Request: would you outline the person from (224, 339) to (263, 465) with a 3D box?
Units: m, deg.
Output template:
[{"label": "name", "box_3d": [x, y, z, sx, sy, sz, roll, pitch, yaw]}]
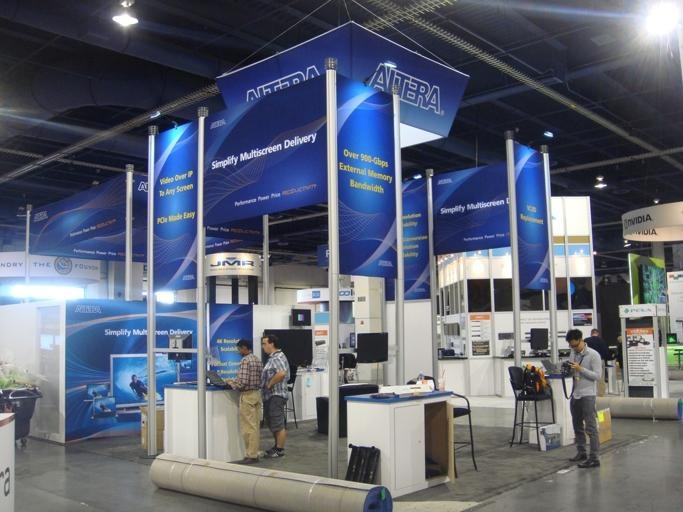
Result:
[{"label": "person", "box_3d": [-1.267, 1.926, 7.625, 0.414, 1.595, 0.295, -1, -5, -8]}]

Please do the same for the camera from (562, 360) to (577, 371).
[{"label": "camera", "box_3d": [2.818, 1.370, 7.127, 0.046, 0.122, 0.131, 6, -18, 40]}]

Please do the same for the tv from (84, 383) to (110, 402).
[{"label": "tv", "box_3d": [-4.188, 2.331, 9.791, 0.037, 0.244, 0.356, -12, -13, 38]}]

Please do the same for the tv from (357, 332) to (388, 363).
[{"label": "tv", "box_3d": [0.569, 1.726, 10.726, 0.627, 0.511, 0.086, 3, -9, -28]}]

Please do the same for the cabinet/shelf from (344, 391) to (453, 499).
[{"label": "cabinet/shelf", "box_3d": [0.746, 2.081, 6.408, 0.713, 0.993, 1.229, -8, -13, 39]}]

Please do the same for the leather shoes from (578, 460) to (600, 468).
[{"label": "leather shoes", "box_3d": [3.054, 2.564, 7.082, 0.260, 0.104, 0.094, 3, -13, -1]}]

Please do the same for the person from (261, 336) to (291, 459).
[{"label": "person", "box_3d": [-0.913, 1.937, 7.884, 0.346, 1.661, 0.552, -1, -5, -7]}]

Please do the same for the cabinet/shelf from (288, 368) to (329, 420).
[{"label": "cabinet/shelf", "box_3d": [-0.807, 2.788, 11.608, 0.543, 0.955, 1.041, 7, -9, 22]}]

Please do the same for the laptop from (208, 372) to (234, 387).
[{"label": "laptop", "box_3d": [-1.604, 1.644, 7.623, 0.167, 0.243, 0.271, -10, -5, 13]}]

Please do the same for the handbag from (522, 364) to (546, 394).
[{"label": "handbag", "box_3d": [2.814, 1.828, 8.438, 0.372, 0.414, 0.234, 5, -15, -43]}]

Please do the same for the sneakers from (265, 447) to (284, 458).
[{"label": "sneakers", "box_3d": [-0.921, 2.707, 7.908, 0.217, 0.090, 0.123, 4, -11, -6]}]

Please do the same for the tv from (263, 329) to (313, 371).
[{"label": "tv", "box_3d": [-0.920, 1.572, 9.723, 1.067, 0.748, 0.140, 3, -7, -38]}]

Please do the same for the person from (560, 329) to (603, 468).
[{"label": "person", "box_3d": [3.055, 1.776, 7.260, 0.416, 1.683, 0.598, -4, -5, 23]}]

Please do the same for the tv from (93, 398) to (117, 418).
[{"label": "tv", "box_3d": [-4.059, 2.638, 9.929, 0.401, 0.285, 0.374, 6, -43, -17]}]

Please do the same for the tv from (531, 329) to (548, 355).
[{"label": "tv", "box_3d": [4.403, 1.866, 12.787, 0.400, 0.468, 0.370, -3, -5, 15]}]

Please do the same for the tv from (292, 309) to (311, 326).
[{"label": "tv", "box_3d": [-0.816, 1.271, 11.746, 0.189, 0.360, 0.638, -4, -6, 26]}]
